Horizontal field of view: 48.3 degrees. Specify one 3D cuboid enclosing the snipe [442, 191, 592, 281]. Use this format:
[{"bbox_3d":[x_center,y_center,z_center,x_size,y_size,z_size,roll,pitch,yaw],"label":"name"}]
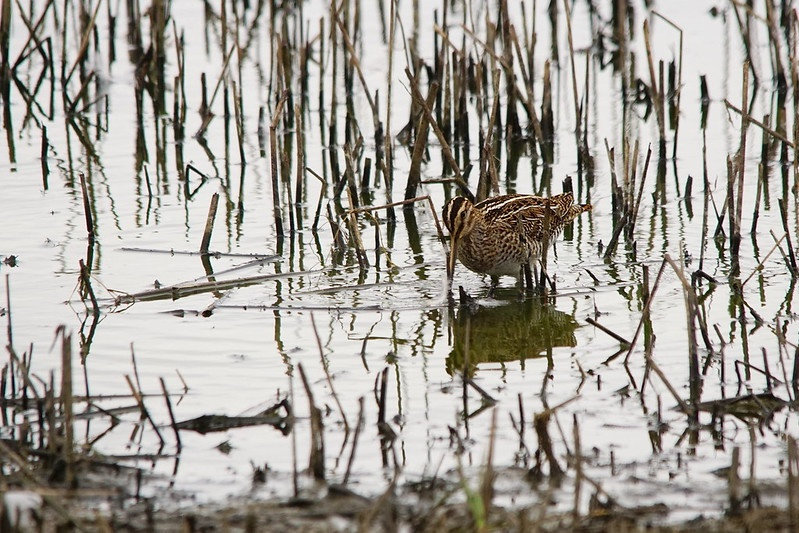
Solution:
[{"bbox_3d":[0.994,-0.275,8.096,1.042,0.844,1.370,1,16,12],"label":"snipe"}]
